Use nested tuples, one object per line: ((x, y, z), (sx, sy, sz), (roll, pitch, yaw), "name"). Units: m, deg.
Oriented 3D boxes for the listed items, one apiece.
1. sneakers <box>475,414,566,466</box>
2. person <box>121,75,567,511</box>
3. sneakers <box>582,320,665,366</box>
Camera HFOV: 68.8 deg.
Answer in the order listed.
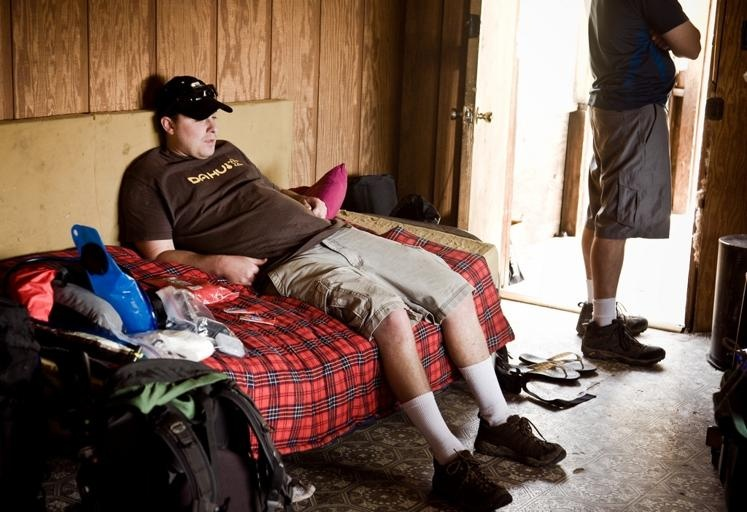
((0.572, 0.722, 2.231), (0.395, 0.181, 0.152), (6, 11, 14), "sneakers")
((-0.244, -0.048, 2.752), (2.455, 1.427, 1.104), (21, 25, 20), "person")
((1.313, 0.460, 3.093), (0.548, 0.269, 0.192), (3, 11, 15), "sneakers")
